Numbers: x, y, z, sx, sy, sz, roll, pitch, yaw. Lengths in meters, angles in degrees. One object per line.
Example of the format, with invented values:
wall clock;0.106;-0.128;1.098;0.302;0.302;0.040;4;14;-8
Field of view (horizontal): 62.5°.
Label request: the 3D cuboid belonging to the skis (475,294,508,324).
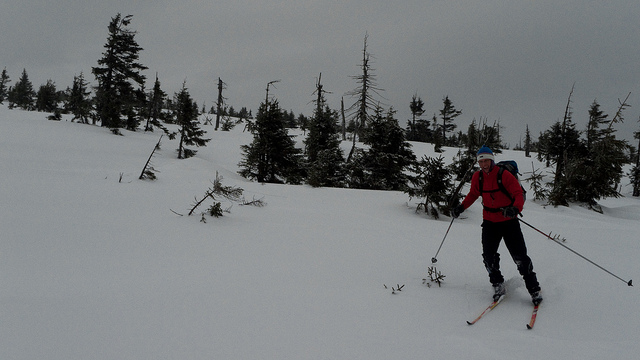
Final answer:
skis;6.743;5.026;20.760;0.178;1.686;0.187;46;0;-23
